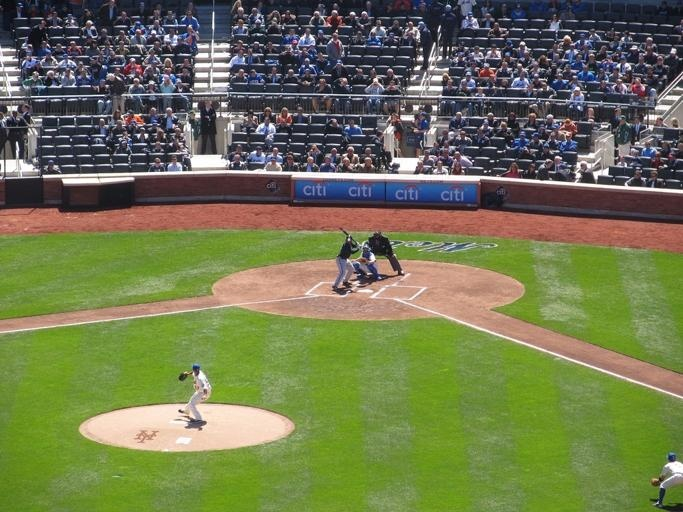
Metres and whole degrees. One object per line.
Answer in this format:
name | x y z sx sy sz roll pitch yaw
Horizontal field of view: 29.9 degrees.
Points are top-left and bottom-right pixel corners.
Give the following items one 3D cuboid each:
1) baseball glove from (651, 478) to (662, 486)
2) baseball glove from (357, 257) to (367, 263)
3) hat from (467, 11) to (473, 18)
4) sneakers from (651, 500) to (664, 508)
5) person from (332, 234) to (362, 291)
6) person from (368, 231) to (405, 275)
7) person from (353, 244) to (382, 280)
baseball glove | 7.506 5.341 30.229 0.255 0.173 0.183 0 13 -13
baseball glove | 0.701 0.085 41.385 0.241 0.123 0.164 1 8 18
hat | 6.037 -11.340 59.258 0.264 0.168 0.365 0 7 0
sneakers | 7.498 5.816 30.011 0.122 0.213 0.240 -11 18 -39
person | 0.213 0.250 41.478 0.959 1.993 0.726 5 46 3
person | 1.484 -0.203 41.641 0.926 1.601 1.308 22 26 40
person | 0.897 0.134 41.532 1.170 1.092 0.759 4 16 27
